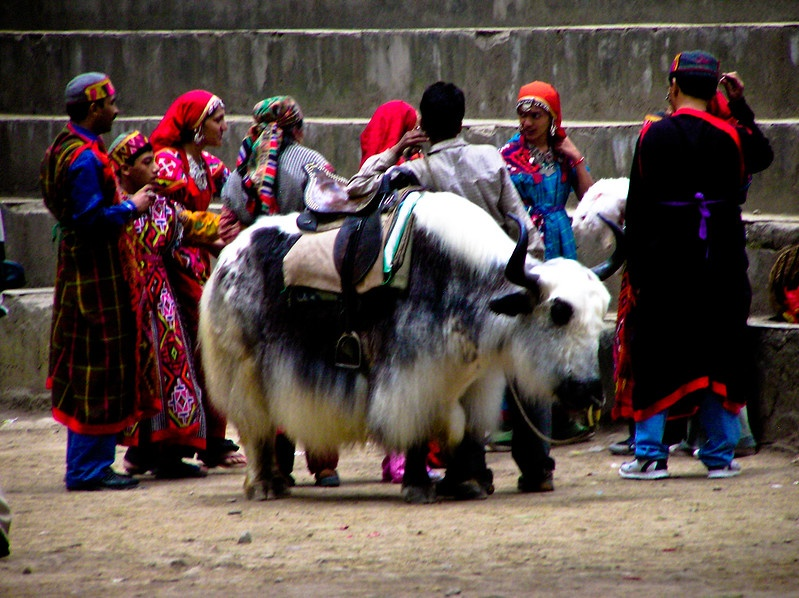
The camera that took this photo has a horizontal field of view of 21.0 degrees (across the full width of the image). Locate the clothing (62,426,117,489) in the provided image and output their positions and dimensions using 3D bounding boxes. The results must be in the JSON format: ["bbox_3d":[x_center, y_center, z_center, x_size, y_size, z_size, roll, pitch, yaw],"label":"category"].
[{"bbox_3d":[-2.166,1.053,15.345,0.325,0.451,0.270,5,29,0],"label":"clothing"}]

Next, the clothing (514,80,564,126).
[{"bbox_3d":[1.080,-1.453,15.660,0.259,0.328,0.366,7,-1,29],"label":"clothing"}]

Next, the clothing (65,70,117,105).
[{"bbox_3d":[-2.185,-1.533,15.268,0.298,0.174,0.207,-12,22,-4],"label":"clothing"}]

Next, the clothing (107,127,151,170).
[{"bbox_3d":[-1.924,-1.149,15.521,0.301,0.245,0.229,-36,12,15],"label":"clothing"}]

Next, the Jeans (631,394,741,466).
[{"bbox_3d":[2.047,0.886,15.200,0.648,0.639,0.316,2,25,9],"label":"Jeans"}]

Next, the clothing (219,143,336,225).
[{"bbox_3d":[-0.842,-0.847,15.429,0.825,0.485,0.430,-24,27,12],"label":"clothing"}]

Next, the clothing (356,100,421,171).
[{"bbox_3d":[-0.059,-1.306,15.704,0.317,0.525,0.429,3,39,-22],"label":"clothing"}]

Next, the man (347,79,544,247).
[{"bbox_3d":[0.379,-0.972,15.316,1.191,1.969,0.643,-3,30,-7],"label":"man"}]

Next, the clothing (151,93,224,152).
[{"bbox_3d":[-1.569,-1.402,15.917,0.635,0.387,0.391,-7,5,23],"label":"clothing"}]

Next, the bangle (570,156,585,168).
[{"bbox_3d":[1.305,-1.033,15.615,0.078,0.028,0.077,-16,-12,-48],"label":"bangle"}]

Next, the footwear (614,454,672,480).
[{"bbox_3d":[1.740,1.167,15.203,0.307,0.168,0.144,2,-1,19],"label":"footwear"}]

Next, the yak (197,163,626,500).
[{"bbox_3d":[-0.030,0.293,14.991,3.164,2.216,1.441,-1,-2,28],"label":"yak"}]

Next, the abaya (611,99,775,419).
[{"bbox_3d":[2.093,-0.337,15.214,1.032,2.293,0.507,-1,2,9],"label":"abaya"}]

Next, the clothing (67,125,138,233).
[{"bbox_3d":[-2.028,-0.916,15.256,0.532,0.933,0.584,-8,4,-9],"label":"clothing"}]
